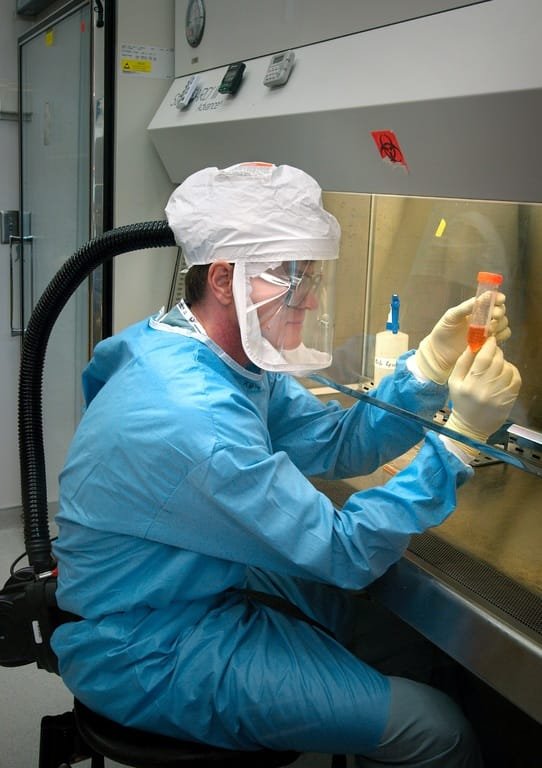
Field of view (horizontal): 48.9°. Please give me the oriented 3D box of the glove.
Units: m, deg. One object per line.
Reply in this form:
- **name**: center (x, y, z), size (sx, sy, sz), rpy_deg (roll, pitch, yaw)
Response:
- **glove**: center (0.359, -0.008, 0.964), size (0.131, 0.250, 0.188), rpy_deg (21, -2, -34)

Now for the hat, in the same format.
- **hat**: center (-0.030, -0.256, 0.975), size (0.226, 0.117, 0.165), rpy_deg (2, 6, 18)
